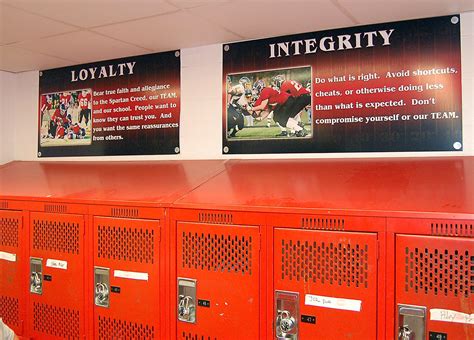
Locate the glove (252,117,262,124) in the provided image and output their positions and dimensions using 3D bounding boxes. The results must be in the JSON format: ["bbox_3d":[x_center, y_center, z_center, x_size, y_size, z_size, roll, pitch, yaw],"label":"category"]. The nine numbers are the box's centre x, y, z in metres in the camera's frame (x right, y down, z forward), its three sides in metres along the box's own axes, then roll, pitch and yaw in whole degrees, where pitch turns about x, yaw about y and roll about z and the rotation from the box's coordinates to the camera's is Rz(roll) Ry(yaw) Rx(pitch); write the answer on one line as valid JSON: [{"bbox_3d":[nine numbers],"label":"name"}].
[{"bbox_3d":[0.165,-0.406,3.313,0.064,0.038,0.015,-26,-4,28],"label":"glove"}]
